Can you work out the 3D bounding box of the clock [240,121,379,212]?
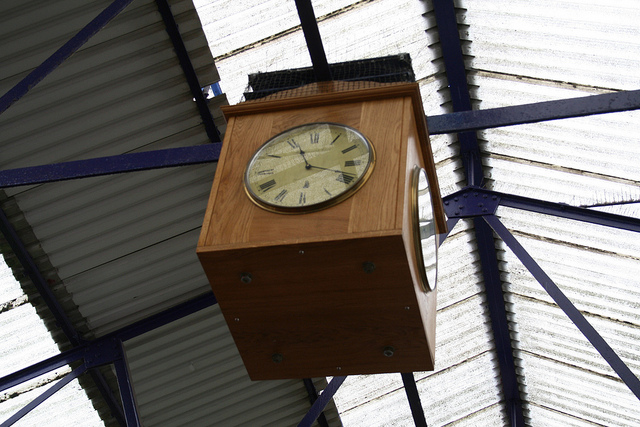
[{"bbox_3d":[-0.186,-0.616,13.718,1.669,1.548,0.152,-10,-41,11],"label":"clock"}]
